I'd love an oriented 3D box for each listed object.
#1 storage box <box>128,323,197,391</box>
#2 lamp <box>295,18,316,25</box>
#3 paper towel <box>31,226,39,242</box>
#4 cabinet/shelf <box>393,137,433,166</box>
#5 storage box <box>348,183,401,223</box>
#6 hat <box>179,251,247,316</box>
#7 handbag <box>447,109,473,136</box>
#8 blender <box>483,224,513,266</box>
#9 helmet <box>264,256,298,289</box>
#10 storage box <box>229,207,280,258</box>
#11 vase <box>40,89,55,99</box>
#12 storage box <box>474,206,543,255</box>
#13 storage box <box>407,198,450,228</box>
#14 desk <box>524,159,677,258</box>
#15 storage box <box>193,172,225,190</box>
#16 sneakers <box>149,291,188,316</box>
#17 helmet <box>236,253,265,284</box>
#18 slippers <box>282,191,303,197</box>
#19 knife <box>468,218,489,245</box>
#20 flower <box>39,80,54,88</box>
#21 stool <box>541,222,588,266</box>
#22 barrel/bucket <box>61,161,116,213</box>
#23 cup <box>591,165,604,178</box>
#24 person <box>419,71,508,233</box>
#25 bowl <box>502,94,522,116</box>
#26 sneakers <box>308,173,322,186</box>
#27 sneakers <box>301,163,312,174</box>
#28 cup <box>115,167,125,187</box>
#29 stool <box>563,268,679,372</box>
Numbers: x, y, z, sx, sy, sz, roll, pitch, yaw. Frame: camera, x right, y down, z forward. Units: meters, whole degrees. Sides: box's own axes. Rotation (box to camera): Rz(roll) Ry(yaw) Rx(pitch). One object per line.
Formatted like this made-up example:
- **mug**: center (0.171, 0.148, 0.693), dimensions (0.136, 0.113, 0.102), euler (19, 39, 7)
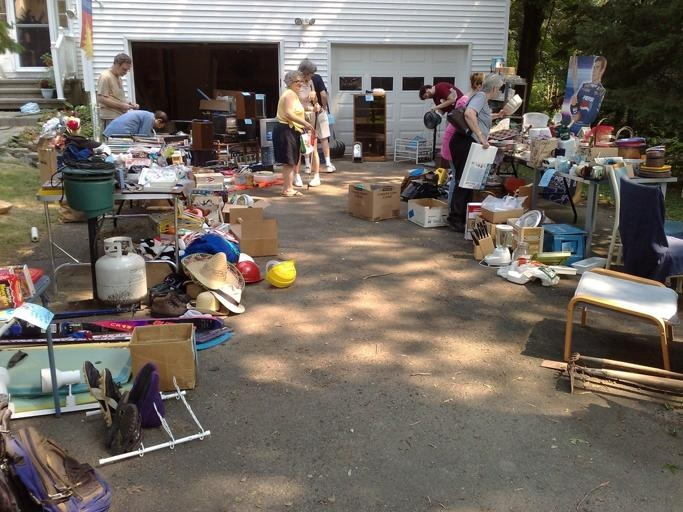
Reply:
- **storage box**: center (-1.189, 0.695, 3.657), dimensions (0.585, 0.421, 0.492), euler (-1, 15, -8)
- **lamp**: center (-0.921, -6.100, 12.926), dimensions (0.531, 0.206, 0.078), euler (-1, 16, -8)
- **paper towel**: center (-3.961, -0.293, 6.398), dimensions (0.095, 0.078, 0.324), euler (2, 15, -32)
- **cabinet/shelf**: center (1.933, -2.756, 13.157), dimensions (0.623, 0.610, 1.017), euler (-16, 27, -32)
- **storage box**: center (0.613, -0.862, 7.992), dimensions (0.773, 0.440, 0.744), euler (-8, 13, -41)
- **hat**: center (-1.218, 0.228, 4.742), dimensions (0.560, 0.522, 0.656), euler (-3, 15, -15)
- **handbag**: center (1.665, -1.864, 6.860), dimensions (0.244, 0.371, 0.430), euler (-4, 15, -18)
- **blender**: center (1.877, -0.136, 5.881), dimensions (0.333, 0.470, 0.381), euler (6, 16, 16)
- **helmet**: center (-0.651, 0.186, 5.249), dimensions (0.309, 0.143, 0.334), euler (0, 9, -13)
- **storage box**: center (-1.078, -0.320, 6.389), dimensions (0.594, 0.435, 0.810), euler (-4, 13, -18)
- **vase**: center (-7.577, -4.172, 12.814), dimensions (0.366, 0.206, 0.340), euler (-9, 16, -34)
- **storage box**: center (1.979, -0.234, 6.196), dimensions (0.665, 0.616, 1.028), euler (0, 12, -7)
- **storage box**: center (1.329, -0.665, 7.523), dimensions (0.607, 0.278, 0.520), euler (-1, 16, -11)
- **desk**: center (2.986, -0.553, 5.823), dimensions (1.102, 0.738, 1.730), euler (0, 12, -6)
- **storage box**: center (-1.914, -1.095, 7.154), dimensions (0.461, 0.205, 0.382), euler (0, 12, -2)
- **sneakers**: center (-1.548, 0.434, 4.507), dimensions (0.496, 0.161, 0.155), euler (2, 22, 15)
- **helmet**: center (-1.014, 0.133, 5.363), dimensions (0.282, 0.116, 0.335), euler (-7, 27, -26)
- **slippers**: center (-0.900, -1.158, 9.303), dimensions (0.387, 0.112, 0.120), euler (-3, 9, -16)
- **knife**: center (1.731, -0.295, 6.140), dimensions (0.239, 0.083, 0.359), euler (0, 38, 13)
- **flower**: center (-7.640, -4.459, 12.865), dimensions (0.284, 0.150, 0.252), euler (-6, 17, -24)
- **stool**: center (2.603, -0.160, 5.951), dimensions (0.593, 0.428, 0.494), euler (1, 20, 1)
- **barrel/bucket**: center (-2.245, -0.600, 4.432), dimensions (0.550, 0.446, 0.530), euler (1, 10, 0)
- **cup**: center (2.948, -0.964, 5.677), dimensions (0.162, 0.133, 0.138), euler (-3, 9, -8)
- **person**: center (1.843, -1.441, 7.021), dimensions (0.668, 2.179, 0.942), euler (-1, 16, -7)
- **bowl**: center (3.174, -2.675, 8.845), dimensions (0.267, 0.382, 0.646), euler (14, 24, 18)
- **sneakers**: center (-0.552, -1.522, 10.221), dimensions (0.179, 0.232, 0.422), euler (2, 3, 32)
- **sneakers**: center (-0.756, -1.924, 11.072), dimensions (0.202, 0.176, 0.514), euler (-1, 5, -2)
- **cup**: center (-2.119, -0.748, 4.774), dimensions (0.092, 0.202, 0.066), euler (-11, 20, -35)
- **stool**: center (2.190, 0.310, 3.737), dimensions (0.832, 0.460, 1.070), euler (12, 22, 32)
